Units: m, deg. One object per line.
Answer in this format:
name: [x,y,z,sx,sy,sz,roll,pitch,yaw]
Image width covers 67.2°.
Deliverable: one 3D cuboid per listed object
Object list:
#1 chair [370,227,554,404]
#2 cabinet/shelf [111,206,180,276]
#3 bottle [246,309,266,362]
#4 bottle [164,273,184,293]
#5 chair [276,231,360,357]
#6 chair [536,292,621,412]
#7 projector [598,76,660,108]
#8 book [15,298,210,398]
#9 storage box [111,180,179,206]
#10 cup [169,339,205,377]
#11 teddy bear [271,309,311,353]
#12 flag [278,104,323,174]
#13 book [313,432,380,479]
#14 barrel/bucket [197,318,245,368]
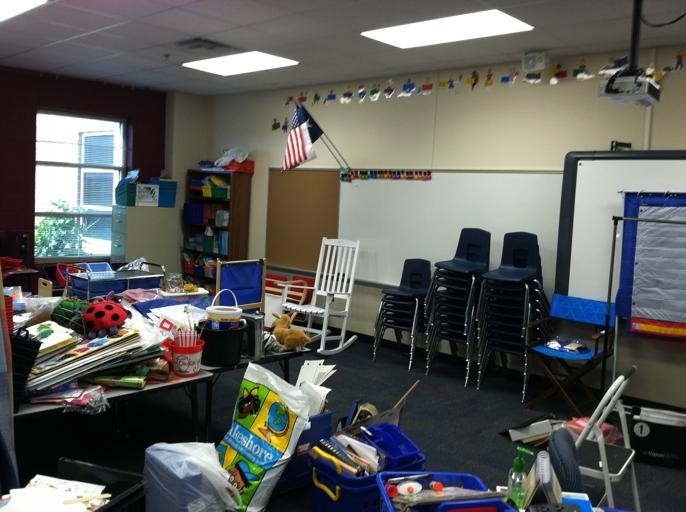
chair: [1.354,0.684,5.600,1.626,1.436,0.702,4,4,42]
cabinet/shelf: [-3.257,-0.286,8.089,0.496,0.967,0.542,10,8,33]
bottle: [-0.624,0.586,3.654,0.123,0.307,0.115,3,7,0]
bottle: [-1.782,0.301,5.462,0.163,0.174,0.155,-2,6,-33]
chair: [-0.311,0.526,6.545,0.902,1.416,1.125,3,5,11]
chair: [2.121,0.983,4.890,0.631,1.003,0.666,-9,12,-43]
projector: [2.136,-1.195,3.828,0.258,0.134,0.257,8,8,30]
book: [-1.500,0.608,3.120,0.817,0.322,0.405,-2,9,-34]
storage box: [-3.019,-0.969,7.979,0.861,0.443,0.380,0,8,-23]
cup: [-0.998,0.686,3.352,0.238,0.190,0.225,1,-4,0]
teddy bear: [-0.407,0.591,4.020,0.393,0.307,0.174,17,10,39]
flag: [-0.497,-1.493,6.425,0.423,0.833,0.492,3,7,3]
book: [0.022,1.198,3.069,0.252,0.106,0.207,12,7,39]
barrel/bucket: [-0.838,0.578,3.520,0.296,0.231,0.296,1,1,0]
